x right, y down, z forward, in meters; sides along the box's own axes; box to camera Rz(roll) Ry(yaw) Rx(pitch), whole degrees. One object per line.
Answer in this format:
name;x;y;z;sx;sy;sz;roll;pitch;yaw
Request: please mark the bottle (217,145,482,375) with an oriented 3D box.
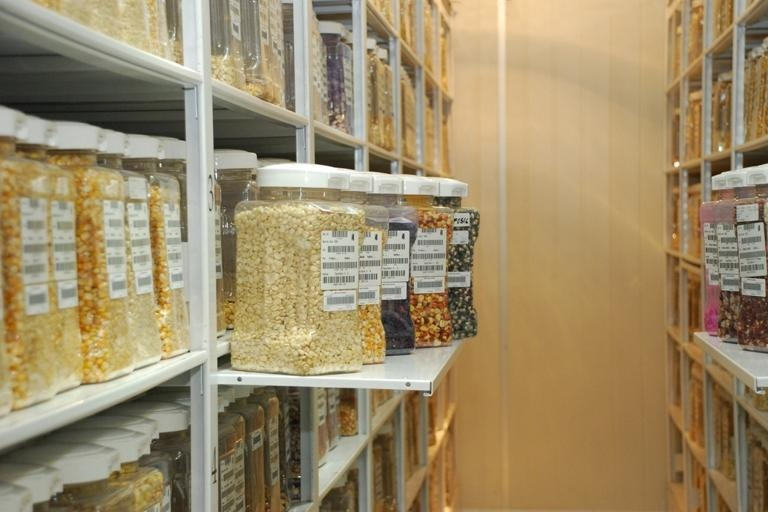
bottle;-0.057;0.038;1.463;0.265;0.447;0.486;-1;-3;30
